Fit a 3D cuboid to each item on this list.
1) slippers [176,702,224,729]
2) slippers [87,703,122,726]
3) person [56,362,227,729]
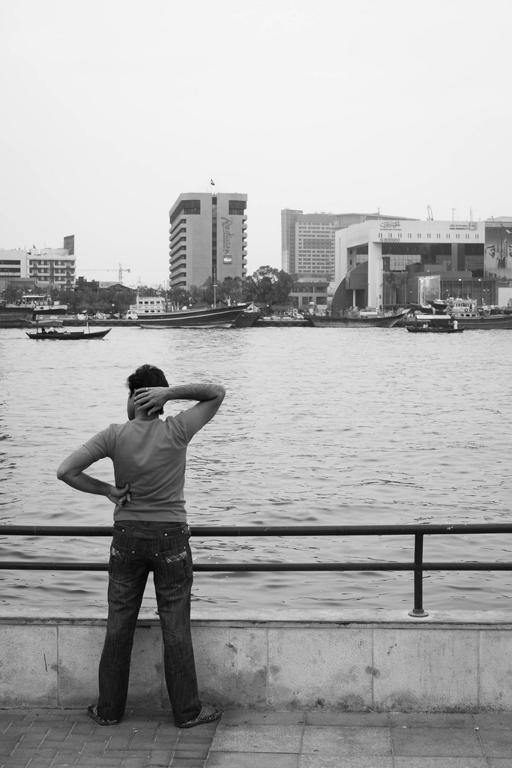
[{"bbox_3d":[-0.274,1.663,7.667,0.253,0.127,0.088,-11,17,-44],"label":"slippers"},{"bbox_3d":[-0.742,1.629,7.617,0.068,0.094,0.194,1,15,-36],"label":"slippers"},{"bbox_3d":[-0.541,0.796,7.702,0.759,1.753,0.441,-1,3,-2],"label":"person"}]
